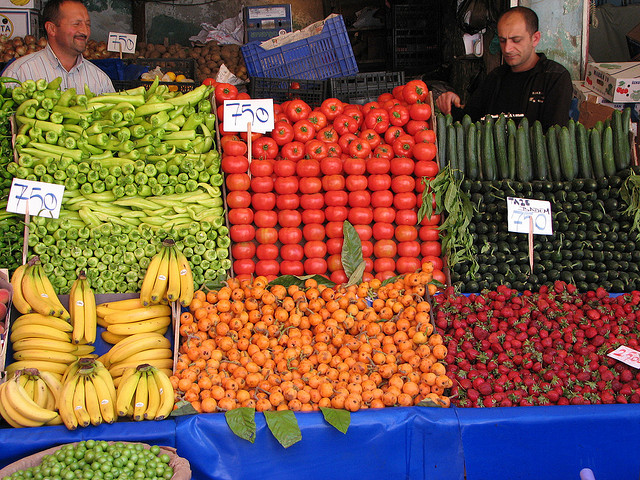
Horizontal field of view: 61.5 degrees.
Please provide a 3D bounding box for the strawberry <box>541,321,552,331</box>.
[{"bbox_3d":[1.694,0.635,3.992,0.072,0.058,0.056,-7,-39,27],"label":"strawberry"}]

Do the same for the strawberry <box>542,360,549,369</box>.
[{"bbox_3d":[1.619,0.886,3.840,0.045,0.048,0.023,-6,-13,32],"label":"strawberry"}]

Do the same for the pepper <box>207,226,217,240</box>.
[{"bbox_3d":[-0.871,-0.061,4.378,0.066,0.070,0.100,-8,-33,-7],"label":"pepper"}]

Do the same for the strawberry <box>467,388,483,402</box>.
[{"bbox_3d":[1.058,1.057,3.665,0.052,0.049,0.091,-23,53,-31],"label":"strawberry"}]

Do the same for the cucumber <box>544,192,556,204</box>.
[{"bbox_3d":[1.968,-0.363,4.585,0.102,0.054,0.036,38,17,12],"label":"cucumber"}]

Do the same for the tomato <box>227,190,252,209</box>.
[{"bbox_3d":[-0.669,-0.340,4.440,0.182,0.172,0.140,-2,8,-5],"label":"tomato"}]

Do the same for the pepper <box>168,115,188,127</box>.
[{"bbox_3d":[-1.186,-1.001,4.500,0.149,0.098,0.049,-8,15,-23],"label":"pepper"}]

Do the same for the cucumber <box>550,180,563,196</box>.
[{"bbox_3d":[2.054,-0.457,4.665,0.113,0.092,0.081,-28,13,-24],"label":"cucumber"}]

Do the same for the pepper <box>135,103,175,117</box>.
[{"bbox_3d":[-1.390,-1.090,4.488,0.347,0.103,0.107,-4,-26,-3],"label":"pepper"}]

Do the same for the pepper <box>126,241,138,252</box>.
[{"bbox_3d":[-1.484,0.048,4.227,0.067,0.072,0.068,6,-37,-12],"label":"pepper"}]

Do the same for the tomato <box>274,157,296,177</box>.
[{"bbox_3d":[-0.291,-0.610,4.517,0.141,0.150,0.141,4,-7,-39],"label":"tomato"}]

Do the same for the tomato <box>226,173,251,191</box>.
[{"bbox_3d":[-0.672,-0.471,4.477,0.153,0.122,0.139,2,-3,-41],"label":"tomato"}]

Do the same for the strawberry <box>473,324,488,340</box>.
[{"bbox_3d":[1.184,0.681,3.964,0.087,0.102,0.092,1,8,-2],"label":"strawberry"}]

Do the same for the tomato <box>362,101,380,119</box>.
[{"bbox_3d":[0.472,-1.202,4.910,0.142,0.157,0.148,6,7,0],"label":"tomato"}]

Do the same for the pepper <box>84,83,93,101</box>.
[{"bbox_3d":[-1.947,-1.251,4.508,0.047,0.049,0.169,0,49,-41],"label":"pepper"}]

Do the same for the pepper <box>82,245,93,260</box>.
[{"bbox_3d":[-1.814,0.098,4.188,0.078,0.068,0.034,0,14,8],"label":"pepper"}]

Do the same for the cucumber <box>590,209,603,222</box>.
[{"bbox_3d":[2.364,-0.214,4.573,0.069,0.078,0.097,-7,2,-8],"label":"cucumber"}]

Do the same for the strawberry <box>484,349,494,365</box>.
[{"bbox_3d":[1.221,0.836,3.867,0.076,0.082,0.053,-11,16,-32],"label":"strawberry"}]

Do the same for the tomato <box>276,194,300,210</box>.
[{"bbox_3d":[-0.266,-0.322,4.527,0.177,0.165,0.125,-3,36,1],"label":"tomato"}]

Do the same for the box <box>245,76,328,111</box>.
[{"bbox_3d":[-0.306,-1.485,5.269,0.569,0.216,0.390,2,26,-8],"label":"box"}]

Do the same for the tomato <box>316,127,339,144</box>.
[{"bbox_3d":[0.075,-0.925,4.726,0.141,0.155,0.149,12,-10,4],"label":"tomato"}]

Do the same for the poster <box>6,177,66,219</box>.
[{"bbox_3d":[-2.177,-0.322,4.170,0.400,0.309,0.015,13,-5,-3],"label":"poster"}]

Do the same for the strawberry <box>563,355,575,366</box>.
[{"bbox_3d":[1.786,0.860,3.828,0.052,0.052,0.054,0,5,1],"label":"strawberry"}]

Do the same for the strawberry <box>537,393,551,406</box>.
[{"bbox_3d":[1.521,1.083,3.628,0.078,0.057,0.079,6,16,27],"label":"strawberry"}]

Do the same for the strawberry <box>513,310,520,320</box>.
[{"bbox_3d":[1.510,0.563,4.110,0.048,0.051,0.050,-1,5,7],"label":"strawberry"}]

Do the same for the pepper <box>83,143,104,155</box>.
[{"bbox_3d":[-1.830,-0.734,4.330,0.153,0.048,0.048,25,-1,-25],"label":"pepper"}]

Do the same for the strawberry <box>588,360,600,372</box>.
[{"bbox_3d":[1.947,0.889,3.813,0.062,0.085,0.066,0,3,9],"label":"strawberry"}]

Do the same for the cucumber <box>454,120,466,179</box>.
[{"bbox_3d":[1.234,-0.801,4.714,0.082,0.473,0.076,2,-4,-13],"label":"cucumber"}]

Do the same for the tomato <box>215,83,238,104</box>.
[{"bbox_3d":[-0.834,-1.299,4.788,0.180,0.191,0.179,10,0,-13],"label":"tomato"}]

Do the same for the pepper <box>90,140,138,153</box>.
[{"bbox_3d":[-1.673,-0.760,4.390,0.394,0.116,0.108,2,-34,5],"label":"pepper"}]

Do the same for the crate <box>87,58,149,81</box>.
[{"bbox_3d":[-2.602,-2.196,6.906,0.598,0.196,0.609,0,26,2],"label":"crate"}]

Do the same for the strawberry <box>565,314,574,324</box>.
[{"bbox_3d":[1.889,0.592,4.053,0.053,0.059,0.056,0,4,5],"label":"strawberry"}]

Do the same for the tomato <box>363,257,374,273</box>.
[{"bbox_3d":[0.418,0.208,4.521,0.106,0.110,0.109,5,44,-12],"label":"tomato"}]

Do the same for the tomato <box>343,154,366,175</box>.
[{"bbox_3d":[0.303,-0.636,4.561,0.146,0.160,0.148,-2,-3,-2],"label":"tomato"}]

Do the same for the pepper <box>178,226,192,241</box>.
[{"bbox_3d":[-1.091,-0.068,4.286,0.081,0.087,0.120,34,-5,-8],"label":"pepper"}]

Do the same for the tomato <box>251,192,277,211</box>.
[{"bbox_3d":[-0.474,-0.328,4.508,0.188,0.174,0.136,-1,20,-12],"label":"tomato"}]

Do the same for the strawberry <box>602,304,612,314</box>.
[{"bbox_3d":[2.253,0.530,4.210,0.067,0.062,0.056,-4,23,-29],"label":"strawberry"}]

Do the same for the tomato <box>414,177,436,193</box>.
[{"bbox_3d":[0.896,-0.461,4.576,0.133,0.145,0.137,-1,-1,11],"label":"tomato"}]

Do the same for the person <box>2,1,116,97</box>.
[{"bbox_3d":[-2.685,-1.979,5.531,0.885,0.895,0.469,-2,13,-1],"label":"person"}]

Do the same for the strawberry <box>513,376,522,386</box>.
[{"bbox_3d":[1.372,0.971,3.706,0.045,0.048,0.047,-1,1,4],"label":"strawberry"}]

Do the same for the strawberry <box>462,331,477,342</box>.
[{"bbox_3d":[1.107,0.714,3.971,0.058,0.075,0.063,-1,0,3],"label":"strawberry"}]

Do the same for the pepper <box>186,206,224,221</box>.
[{"bbox_3d":[-0.929,-0.223,4.383,0.219,0.126,0.068,-4,-20,-14],"label":"pepper"}]

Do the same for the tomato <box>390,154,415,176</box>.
[{"bbox_3d":[0.710,-0.636,4.617,0.165,0.173,0.170,-2,0,3],"label":"tomato"}]

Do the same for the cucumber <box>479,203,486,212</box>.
[{"bbox_3d":[1.376,-0.278,4.528,0.063,0.073,0.020,-6,14,-14],"label":"cucumber"}]

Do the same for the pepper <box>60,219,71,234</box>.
[{"bbox_3d":[-1.985,-0.108,4.233,0.078,0.079,0.094,-15,-21,-18],"label":"pepper"}]

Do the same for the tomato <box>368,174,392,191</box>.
[{"bbox_3d":[0.516,-0.501,4.587,0.175,0.116,0.130,-7,15,-29],"label":"tomato"}]

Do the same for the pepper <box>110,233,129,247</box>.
[{"bbox_3d":[-1.550,-0.009,4.175,0.120,0.112,0.073,-31,41,-28],"label":"pepper"}]

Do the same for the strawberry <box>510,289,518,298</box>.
[{"bbox_3d":[1.557,0.425,4.286,0.050,0.054,0.072,-15,4,29],"label":"strawberry"}]

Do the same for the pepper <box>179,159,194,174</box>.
[{"bbox_3d":[-1.086,-0.614,4.413,0.102,0.110,0.118,-17,24,6],"label":"pepper"}]

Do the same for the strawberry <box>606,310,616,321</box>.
[{"bbox_3d":[2.255,0.583,4.149,0.055,0.084,0.059,3,4,24],"label":"strawberry"}]

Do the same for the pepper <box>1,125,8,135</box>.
[{"bbox_3d":[-2.605,-0.909,4.426,0.046,0.065,0.034,-1,-1,-20],"label":"pepper"}]

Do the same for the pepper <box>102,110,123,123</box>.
[{"bbox_3d":[-1.699,-1.014,4.382,0.189,0.099,0.069,6,16,29],"label":"pepper"}]

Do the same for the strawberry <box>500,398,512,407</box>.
[{"bbox_3d":[1.254,1.090,3.605,0.078,0.043,0.048,1,14,11],"label":"strawberry"}]

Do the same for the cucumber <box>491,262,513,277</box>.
[{"bbox_3d":[1.530,0.234,4.502,0.111,0.088,0.051,1,14,11],"label":"cucumber"}]

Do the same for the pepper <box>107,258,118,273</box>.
[{"bbox_3d":[-1.608,0.193,4.215,0.085,0.094,0.127,-6,-7,-4],"label":"pepper"}]

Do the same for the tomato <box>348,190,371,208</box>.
[{"bbox_3d":[0.332,-0.345,4.521,0.174,0.143,0.164,5,-7,0],"label":"tomato"}]

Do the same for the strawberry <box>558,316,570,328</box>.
[{"bbox_3d":[1.824,0.610,4.014,0.069,0.066,0.101,-7,12,9],"label":"strawberry"}]

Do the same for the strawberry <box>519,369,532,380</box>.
[{"bbox_3d":[1.439,0.938,3.750,0.054,0.060,0.067,-1,-17,-2],"label":"strawberry"}]

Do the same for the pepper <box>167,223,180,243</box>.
[{"bbox_3d":[-1.159,-0.055,4.238,0.063,0.077,0.150,27,8,-11],"label":"pepper"}]
